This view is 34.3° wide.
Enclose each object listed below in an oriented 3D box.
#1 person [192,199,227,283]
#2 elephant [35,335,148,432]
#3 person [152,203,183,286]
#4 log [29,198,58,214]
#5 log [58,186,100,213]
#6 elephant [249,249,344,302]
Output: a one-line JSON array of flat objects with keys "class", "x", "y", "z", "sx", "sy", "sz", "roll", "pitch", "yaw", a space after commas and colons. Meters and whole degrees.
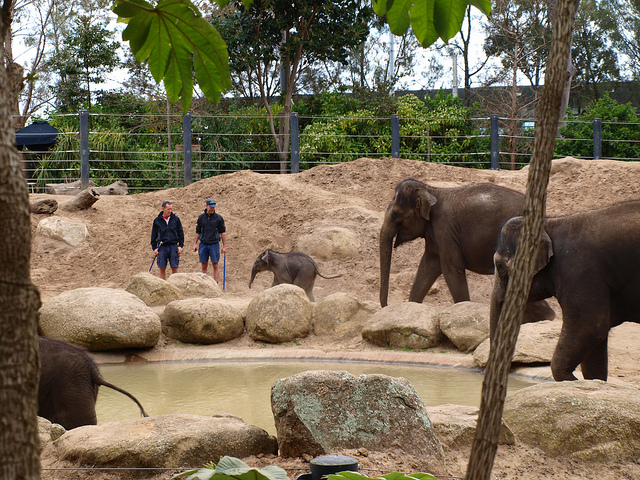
[{"class": "person", "x": -2.251, "y": 0.017, "z": 21.474, "sx": 0.670, "sy": 1.882, "sz": 1.268, "roll": -4, "pitch": 14, "yaw": -7}, {"class": "elephant", "x": -3.072, "y": 1.948, "z": 13.917, "sx": 1.783, "sy": 1.018, "sz": 0.787, "roll": 17, "pitch": 17, "yaw": 20}, {"class": "person", "x": -3.066, "y": -0.004, "z": 21.000, "sx": 0.605, "sy": 1.623, "sz": 0.741, "roll": -5, "pitch": 14, "yaw": -9}, {"class": "log", "x": -6.151, "y": -0.731, "z": 23.288, "sx": 0.559, "sy": 0.408, "sz": 0.479, "roll": -6, "pitch": 14, "yaw": -15}, {"class": "log", "x": -5.483, "y": -0.921, "z": 23.738, "sx": 1.043, "sy": 0.602, "sz": 0.452, "roll": 6, "pitch": 16, "yaw": 30}, {"class": "elephant", "x": -0.426, "y": 0.726, "z": 19.892, "sx": 1.892, "sy": 0.999, "sz": 0.562, "roll": 6, "pitch": 15, "yaw": 6}]
